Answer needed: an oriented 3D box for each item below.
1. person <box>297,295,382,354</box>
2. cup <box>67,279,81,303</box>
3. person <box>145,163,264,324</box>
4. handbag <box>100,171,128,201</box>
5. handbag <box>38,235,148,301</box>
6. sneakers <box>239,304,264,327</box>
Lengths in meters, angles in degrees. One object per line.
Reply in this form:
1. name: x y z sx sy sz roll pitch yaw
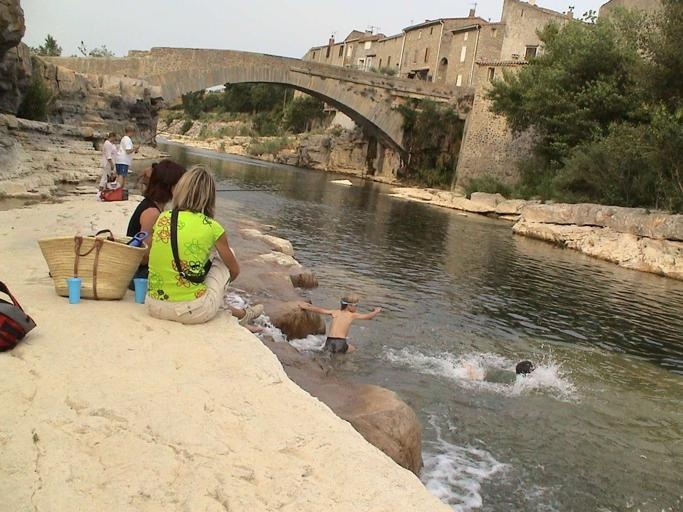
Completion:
1. person: -0.043 1.024 7.918 0.641 0.768 0.257 6 0 13
2. cup: -2.730 0.345 5.513 0.111 0.257 0.130 -1 15 -29
3. person: -1.491 -0.094 5.432 0.849 1.530 0.372 1 14 -22
4. handbag: -5.291 -1.637 12.569 0.561 0.757 0.692 -1 7 -39
5. handbag: -2.656 0.079 5.948 0.988 0.760 0.859 7 2 0
6. sneakers: -1.131 0.695 6.707 0.141 0.177 0.412 15 32 27
